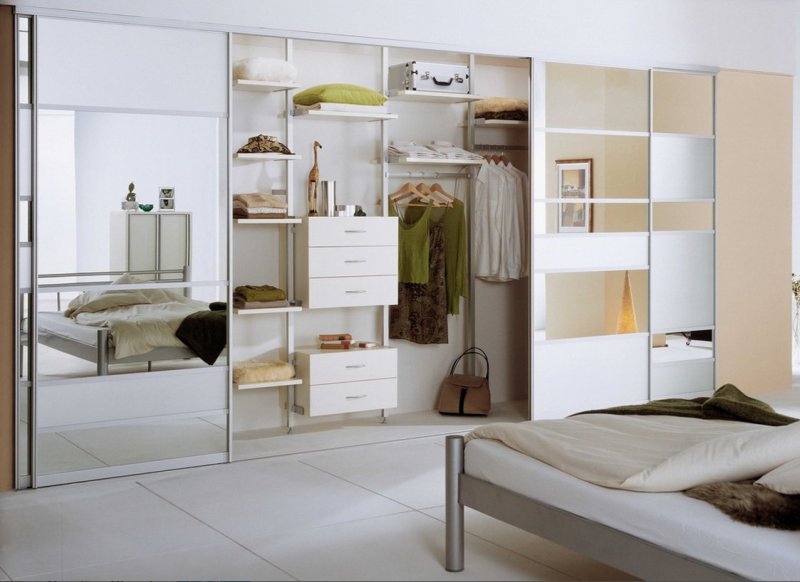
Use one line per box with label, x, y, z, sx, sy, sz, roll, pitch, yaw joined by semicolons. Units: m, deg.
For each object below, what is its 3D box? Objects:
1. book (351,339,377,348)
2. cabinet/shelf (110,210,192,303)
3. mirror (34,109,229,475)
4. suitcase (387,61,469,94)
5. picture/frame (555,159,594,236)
book;-0.276;0.405;5.269;0.184;0.039;0.285;0;6;1
cabinet/shelf;-1.544;-0.152;4.339;0.396;0.656;0.236;0;-25;-20
mirror;-1.663;-0.097;4.231;1.241;2.073;0.035;0;-9;3
suitcase;0.214;-1.601;5.383;0.413;0.159;0.371;1;2;-37
picture/frame;1.438;-0.759;5.519;0.355;0.587;0.084;-2;6;-23
